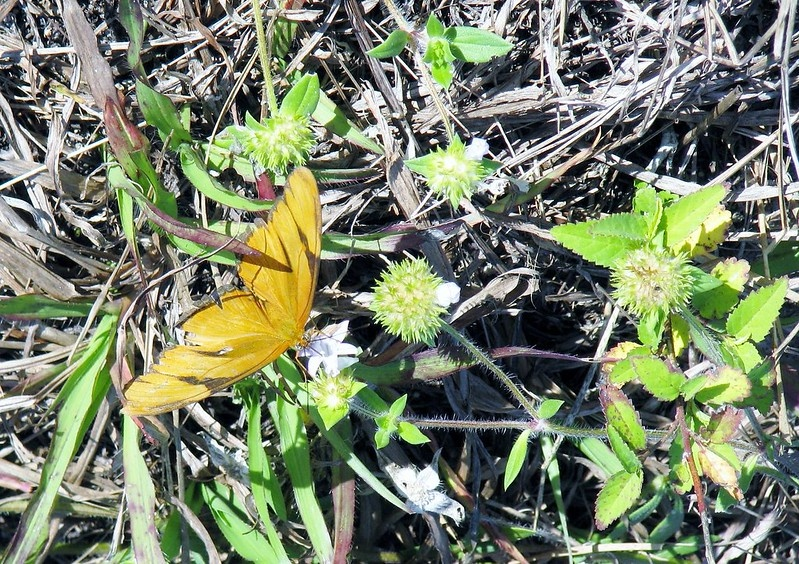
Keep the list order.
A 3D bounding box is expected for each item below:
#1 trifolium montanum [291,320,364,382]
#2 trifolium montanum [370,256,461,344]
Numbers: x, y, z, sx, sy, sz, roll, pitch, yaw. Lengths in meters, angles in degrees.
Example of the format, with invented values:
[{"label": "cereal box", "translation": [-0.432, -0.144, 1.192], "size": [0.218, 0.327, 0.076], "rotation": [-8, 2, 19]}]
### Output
[{"label": "trifolium montanum", "translation": [-0.201, 0.189, 2.161], "size": [0.152, 0.073, 0.176], "rotation": [29, 107, 32]}, {"label": "trifolium montanum", "translation": [0.033, 0.061, 2.058], "size": [0.193, 0.184, 0.191], "rotation": [29, 71, 11]}]
